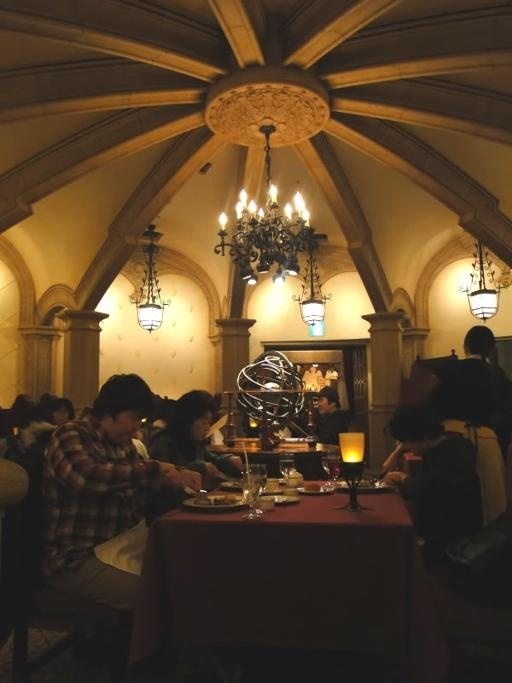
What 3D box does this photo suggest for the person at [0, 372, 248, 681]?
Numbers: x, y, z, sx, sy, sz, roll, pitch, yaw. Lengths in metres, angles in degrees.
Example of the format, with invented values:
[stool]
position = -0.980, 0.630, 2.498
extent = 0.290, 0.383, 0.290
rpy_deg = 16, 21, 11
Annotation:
[person]
position = -0.471, 0.839, 2.959
extent = 0.990, 1.261, 0.699
rpy_deg = -10, -34, -4

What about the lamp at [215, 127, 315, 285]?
[lamp]
position = 0.089, -1.391, 5.804
extent = 0.996, 1.455, 0.881
rpy_deg = 0, 1, -6
